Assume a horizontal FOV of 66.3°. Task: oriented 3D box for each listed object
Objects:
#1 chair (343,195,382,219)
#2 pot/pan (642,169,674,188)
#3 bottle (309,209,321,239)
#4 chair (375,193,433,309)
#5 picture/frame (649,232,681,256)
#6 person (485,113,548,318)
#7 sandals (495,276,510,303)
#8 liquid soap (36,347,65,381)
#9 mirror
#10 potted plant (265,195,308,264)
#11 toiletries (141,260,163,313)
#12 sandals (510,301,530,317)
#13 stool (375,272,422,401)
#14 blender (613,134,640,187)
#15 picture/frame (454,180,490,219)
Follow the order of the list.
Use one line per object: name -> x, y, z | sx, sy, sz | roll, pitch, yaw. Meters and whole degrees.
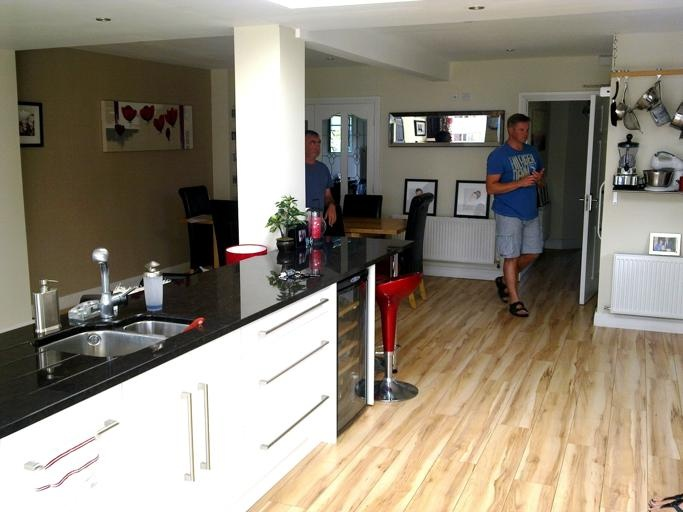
chair -> 0.321, -0.774, 7.447 | 0.401, 0.604, 0.386 | 5, 9, 15
pot/pan -> 2.976, -0.738, 4.922 | 0.167, 0.139, 0.208 | 3, 11, 14
bottle -> -0.202, -0.241, 4.064 | 0.100, 0.226, 0.076 | -2, 12, -8
chair -> 0.562, -0.123, 5.850 | 0.741, 1.176, 0.623 | 6, 0, -17
picture/frame -> 3.129, -0.114, 5.066 | 0.206, 0.192, 0.016 | 3, 4, 25
person -> 1.876, -0.423, 5.630 | 0.662, 2.124, 0.437 | 0, 12, 1
sandals -> 1.920, 0.405, 6.267 | 0.079, 0.311, 0.104 | -2, -19, -43
liquid soap -> -1.089, 0.408, 1.967 | 0.091, 0.157, 0.085 | 0, 1, -5
mirror -> 1.440, -1.727, 7.170 | 1.564, 0.553, 0.059 | 0, -12, 6
potted plant -> -0.415, -0.229, 3.901 | 0.284, 0.448, 0.190 | -3, -12, 24
toiletries -> -0.920, 0.143, 2.573 | 0.086, 0.226, 0.193 | -6, 13, -22
sandals -> 1.914, 0.583, 5.670 | 0.109, 0.103, 0.232 | -5, 4, -3
stool -> 0.410, 0.592, 3.870 | 0.342, 0.922, 0.293 | -2, 12, -5
blender -> 2.746, -0.900, 5.005 | 0.235, 0.502, 0.229 | 6, 14, 29
picture/frame -> 1.789, -0.772, 7.118 | 0.474, 0.599, 0.038 | 3, 5, 24
